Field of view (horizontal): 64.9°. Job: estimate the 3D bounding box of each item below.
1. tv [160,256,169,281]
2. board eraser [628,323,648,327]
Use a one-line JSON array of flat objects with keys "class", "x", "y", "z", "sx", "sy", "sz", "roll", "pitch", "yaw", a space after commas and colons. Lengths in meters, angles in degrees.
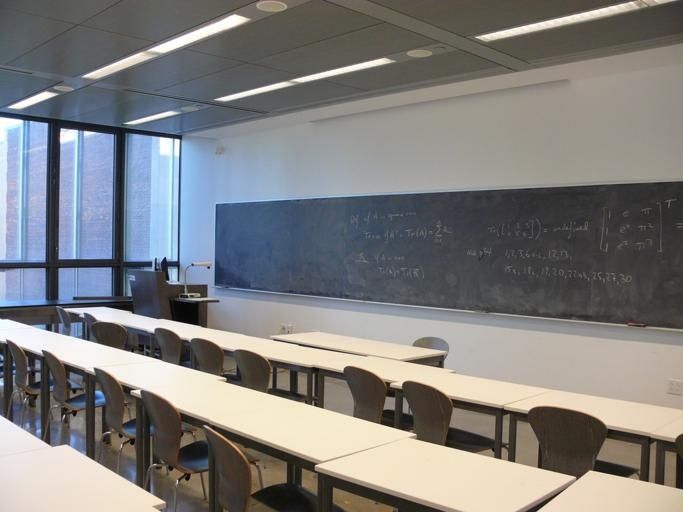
[{"class": "tv", "x": -2.802, "y": 0.196, "z": 8.482, "sx": 0.101, "sy": 0.258, "sz": 0.396, "roll": 2, "pitch": 4, "yaw": -20}, {"class": "board eraser", "x": 2.851, "y": 0.656, "z": 5.151, "sx": 0.050, "sy": 0.021, "sz": 0.087, "roll": 5, "pitch": -2, "yaw": -44}]
